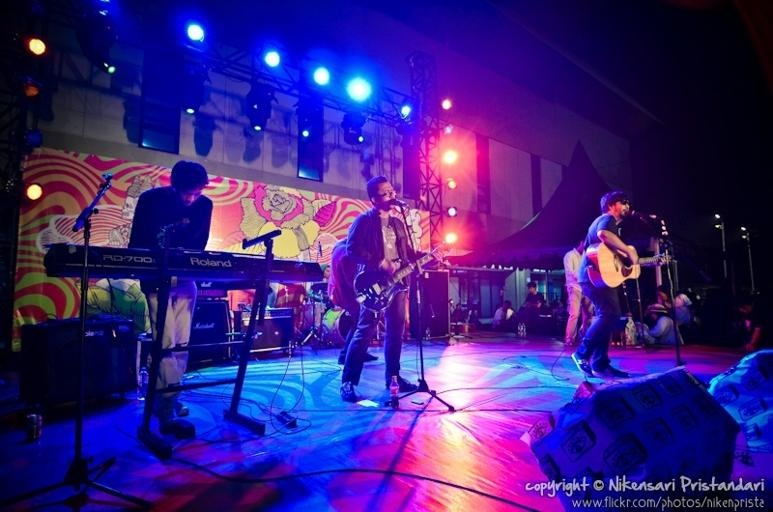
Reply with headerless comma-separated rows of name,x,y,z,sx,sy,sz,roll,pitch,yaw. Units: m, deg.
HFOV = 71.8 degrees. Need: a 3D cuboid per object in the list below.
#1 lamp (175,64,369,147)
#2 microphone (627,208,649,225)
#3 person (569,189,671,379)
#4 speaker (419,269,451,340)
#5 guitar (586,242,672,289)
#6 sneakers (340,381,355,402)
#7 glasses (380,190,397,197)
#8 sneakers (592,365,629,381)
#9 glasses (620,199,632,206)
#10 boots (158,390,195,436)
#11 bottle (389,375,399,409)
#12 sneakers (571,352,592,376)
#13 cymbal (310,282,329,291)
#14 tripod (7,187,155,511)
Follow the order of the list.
lamp,-2.605,-3.272,11.506,1.894,0.581,1.944,10,-5,42
microphone,3.358,-0.535,7.127,0.212,0.255,0.339,1,-8,6
person,2.977,0.395,7.099,0.960,2.853,0.946,3,10,11
speaker,0.934,1.205,12.127,0.938,1.493,0.958,-5,-24,12
guitar,3.003,0.143,7.168,0.656,0.594,0.244,4,-8,-12
sneakers,-0.450,1.600,6.295,0.218,0.223,0.237,2,-8,0
glasses,0.012,-0.742,6.386,0.099,0.034,0.103,-10,-3,18
sneakers,2.902,1.529,6.942,0.445,0.206,0.173,-10,-14,25
glasses,3.232,-0.707,7.212,0.122,0.122,0.031,-14,7,8
boots,-2.171,1.652,5.551,0.500,0.430,0.341,-5,-10,41
bottle,0.083,1.549,6.089,0.107,0.335,0.296,2,-8,-1
sneakers,2.634,1.442,7.127,0.127,0.372,0.140,-25,-8,-17
cymbal,-1.347,0.604,10.431,0.307,0.082,0.310,0,-1,13
tripod,-2.921,0.774,5.134,1.024,2.981,1.644,8,-10,-40
